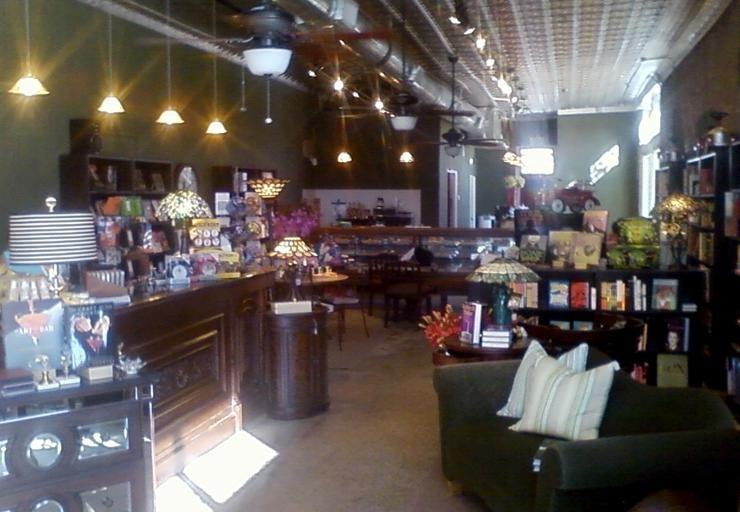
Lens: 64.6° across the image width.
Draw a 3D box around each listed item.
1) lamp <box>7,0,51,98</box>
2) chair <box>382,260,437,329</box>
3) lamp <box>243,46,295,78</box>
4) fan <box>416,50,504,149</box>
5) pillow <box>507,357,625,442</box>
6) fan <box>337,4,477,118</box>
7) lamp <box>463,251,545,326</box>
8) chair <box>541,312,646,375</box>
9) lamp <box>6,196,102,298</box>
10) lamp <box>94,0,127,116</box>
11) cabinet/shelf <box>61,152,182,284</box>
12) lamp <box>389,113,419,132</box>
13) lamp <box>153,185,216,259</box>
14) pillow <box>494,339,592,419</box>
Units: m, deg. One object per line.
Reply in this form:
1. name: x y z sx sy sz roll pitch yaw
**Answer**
1. lamp: -3.961 -2.418 6.720 0.394 1.146 0.698 -4 8 -29
2. chair: 0.681 0.607 10.111 0.817 1.103 1.350 0 7 5
3. lamp: -0.707 -1.339 4.058 0.303 0.184 0.338 -1 7 -6
4. fan: 1.553 -2.866 11.004 1.996 1.683 2.017 6 20 19
5. pillow: 1.312 0.975 3.915 0.172 0.567 0.571 35 -20 -29
6. fan: 0.641 -3.232 9.661 0.768 0.779 4.646 30 8 27
7. lamp: 1.223 0.316 5.429 0.618 0.615 0.615 0 0 -8
8. chair: 1.988 0.722 5.290 0.885 0.396 0.742 1 4 27
9. lamp: -2.024 -0.049 3.696 0.481 0.623 0.493 -5 9 -32
10. lamp: -3.449 -2.570 7.689 0.313 1.403 1.003 -3 8 -22
11. cabinet/shelf: -2.780 -0.429 6.494 0.467 1.642 1.800 -2 -1 21
12. lamp: 0.561 -2.229 9.788 0.430 0.190 0.424 0 -3 4
13. lamp: -2.308 -0.356 7.136 0.467 0.904 3.027 -3 8 -20
14. pillow: 1.262 0.916 4.247 0.183 0.599 0.566 28 -15 -22
